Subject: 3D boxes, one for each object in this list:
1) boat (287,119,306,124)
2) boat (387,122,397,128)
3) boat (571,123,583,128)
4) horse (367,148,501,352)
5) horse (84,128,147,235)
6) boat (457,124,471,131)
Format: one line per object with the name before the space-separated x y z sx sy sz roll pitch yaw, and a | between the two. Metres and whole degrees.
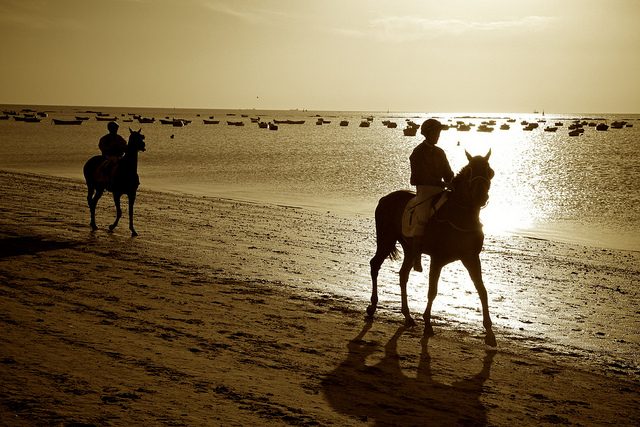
boat | -5.833 -22.061 191.032 3.398 1.122 5.552 3 12 -8
boat | 15.865 -19.548 175.101 1.898 0.462 1.895 -4 17 -19
boat | 55.455 -19.237 171.699 3.544 0.746 3.166 3 7 12
horse | 3.029 0.589 20.420 3.172 4.861 3.086 4 12 -3
horse | -6.615 -1.144 25.564 2.387 3.181 1.415 15 15 41
boat | 31.956 -19.384 177.093 3.654 0.811 3.771 3 17 8
